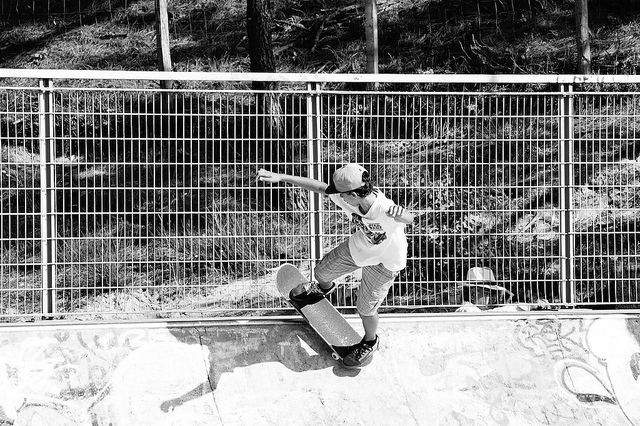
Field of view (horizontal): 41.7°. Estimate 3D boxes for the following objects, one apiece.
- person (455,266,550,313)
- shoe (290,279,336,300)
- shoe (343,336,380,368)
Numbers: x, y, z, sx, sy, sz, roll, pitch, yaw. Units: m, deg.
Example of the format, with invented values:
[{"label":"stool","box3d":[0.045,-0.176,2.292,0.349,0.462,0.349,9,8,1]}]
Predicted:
[{"label":"person","box3d":[2.701,1.238,13.024,1.135,0.459,0.879,-1,-2,-17]},{"label":"shoe","box3d":[-0.070,1.081,12.199,0.699,0.281,0.320,-8,-3,-9]},{"label":"shoe","box3d":[0.581,2.012,12.110,0.627,0.226,0.252,-45,-17,-18]}]
